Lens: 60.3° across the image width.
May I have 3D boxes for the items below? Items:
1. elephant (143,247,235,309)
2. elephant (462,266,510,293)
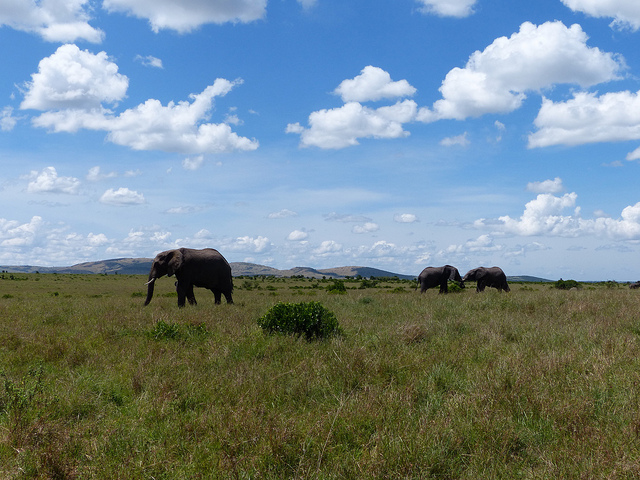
[{"bbox_3d":[-6.360,1.965,27.013,4.724,3.059,1.703,2,-1,-23],"label":"elephant"},{"bbox_3d":[11.675,2.680,38.568,2.719,2.097,2.650,2,11,16],"label":"elephant"}]
